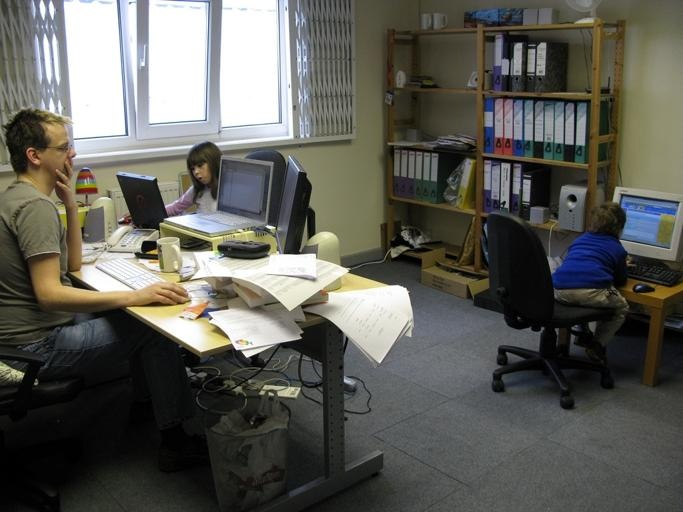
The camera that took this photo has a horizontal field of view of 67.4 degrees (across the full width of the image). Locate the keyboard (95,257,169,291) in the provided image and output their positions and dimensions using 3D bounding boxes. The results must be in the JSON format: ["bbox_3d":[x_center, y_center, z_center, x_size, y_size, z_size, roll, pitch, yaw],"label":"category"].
[{"bbox_3d":[-1.071,0.089,2.627,0.523,0.171,0.053,-1,-8,21],"label":"keyboard"}]

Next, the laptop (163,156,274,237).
[{"bbox_3d":[-0.690,-0.334,3.008,0.516,0.450,0.618,-9,17,-41],"label":"laptop"}]

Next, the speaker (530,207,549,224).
[{"bbox_3d":[1.642,-0.339,4.257,0.141,0.141,0.142,-7,19,-16],"label":"speaker"}]

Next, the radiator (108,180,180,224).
[{"bbox_3d":[-1.337,-0.352,3.414,0.294,0.284,0.215,-29,19,-25],"label":"radiator"}]

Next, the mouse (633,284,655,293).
[{"bbox_3d":[1.870,0.197,3.166,0.133,0.036,0.087,2,20,14],"label":"mouse"}]

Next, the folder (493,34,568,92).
[{"bbox_3d":[1.551,-1.566,4.182,0.422,0.417,0.238,12,24,33],"label":"folder"}]

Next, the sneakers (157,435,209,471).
[{"bbox_3d":[-0.791,0.989,2.575,0.237,0.172,0.144,0,0,-18],"label":"sneakers"}]

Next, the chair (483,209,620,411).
[{"bbox_3d":[1.269,0.291,3.187,0.675,1.075,0.803,-2,11,1],"label":"chair"}]

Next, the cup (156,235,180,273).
[{"bbox_3d":[-0.873,-0.004,2.609,0.105,0.157,0.177,-4,16,-27],"label":"cup"}]

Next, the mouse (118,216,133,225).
[{"bbox_3d":[-1.478,-0.244,3.522,0.096,0.042,0.077,13,16,36],"label":"mouse"}]

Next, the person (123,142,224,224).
[{"bbox_3d":[-1.184,-0.516,3.622,0.580,0.561,0.775,-6,15,-37],"label":"person"}]

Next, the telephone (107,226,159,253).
[{"bbox_3d":[-1.253,-0.097,3.094,0.205,0.083,0.198,4,26,12],"label":"telephone"}]
